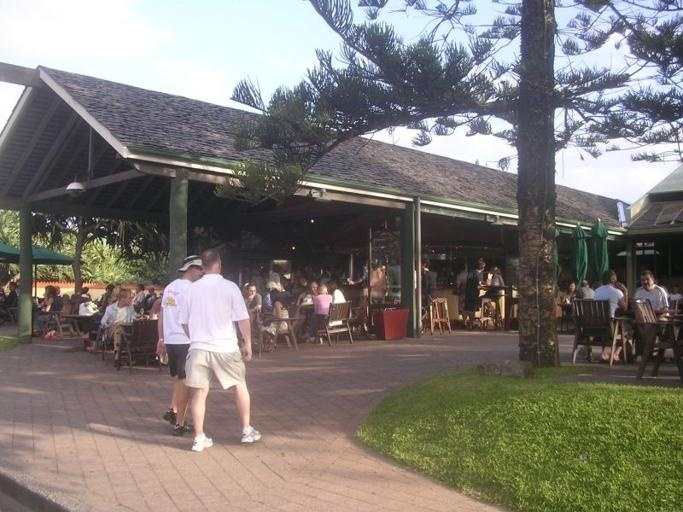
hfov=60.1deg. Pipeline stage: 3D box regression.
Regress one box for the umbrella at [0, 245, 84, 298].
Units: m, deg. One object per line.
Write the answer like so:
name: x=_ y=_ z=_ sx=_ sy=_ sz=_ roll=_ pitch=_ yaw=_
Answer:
umbrella: x=-12.733 y=0.669 z=24.814 sx=2.457 sy=1.808 sz=2.455 roll=2 pitch=-5 yaw=-11

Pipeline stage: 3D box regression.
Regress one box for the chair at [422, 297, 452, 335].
chair: x=3.201 y=1.871 z=18.944 sx=0.677 sy=1.053 sz=0.716 roll=1 pitch=-8 yaw=-15

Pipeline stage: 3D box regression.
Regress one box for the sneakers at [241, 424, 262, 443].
sneakers: x=-1.027 y=2.016 z=6.738 sx=0.124 sy=0.136 sz=0.282 roll=1 pitch=1 yaw=20

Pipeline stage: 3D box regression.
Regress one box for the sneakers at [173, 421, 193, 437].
sneakers: x=-1.891 y=2.051 z=7.029 sx=0.099 sy=0.115 sz=0.260 roll=1 pitch=0 yaw=24

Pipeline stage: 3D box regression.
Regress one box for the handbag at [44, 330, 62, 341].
handbag: x=-8.450 y=2.304 z=17.192 sx=0.306 sy=0.147 sz=0.354 roll=1 pitch=-1 yaw=-7

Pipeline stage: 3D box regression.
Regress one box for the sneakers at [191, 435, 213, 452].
sneakers: x=-1.533 y=2.051 z=6.505 sx=0.101 sy=0.128 sz=0.284 roll=3 pitch=5 yaw=21

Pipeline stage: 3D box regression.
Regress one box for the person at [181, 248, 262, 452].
person: x=-1.387 y=1.025 z=6.587 sx=0.859 sy=2.218 sz=0.390 roll=2 pitch=-5 yaw=-10

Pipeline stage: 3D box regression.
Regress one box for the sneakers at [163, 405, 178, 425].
sneakers: x=-2.100 y=1.952 z=7.265 sx=0.124 sy=0.200 sz=0.286 roll=-1 pitch=-43 yaw=5
